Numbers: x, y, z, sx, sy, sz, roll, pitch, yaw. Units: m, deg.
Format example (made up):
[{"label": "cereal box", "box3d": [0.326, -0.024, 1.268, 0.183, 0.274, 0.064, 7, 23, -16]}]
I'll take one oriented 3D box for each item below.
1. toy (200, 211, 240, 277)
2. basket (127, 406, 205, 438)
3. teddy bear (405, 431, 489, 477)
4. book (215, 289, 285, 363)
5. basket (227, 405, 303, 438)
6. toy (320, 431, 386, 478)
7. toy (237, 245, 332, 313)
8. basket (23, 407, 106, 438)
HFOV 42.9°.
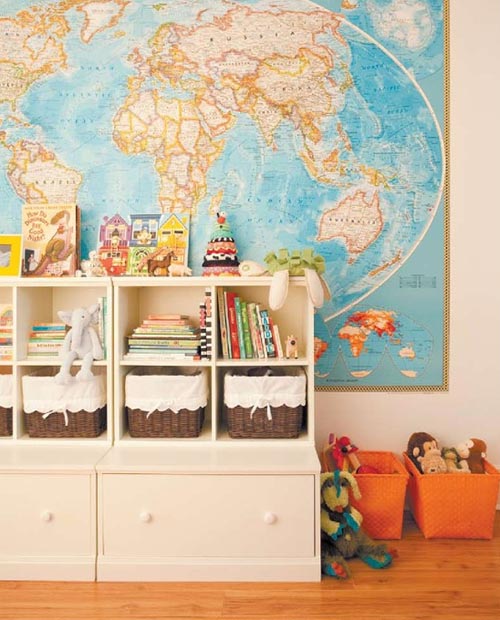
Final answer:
[{"label": "toy", "box3d": [-0.133, -0.292, 2.833, 0.155, 0.261, 0.251, -3, 15, -9]}, {"label": "basket", "box3d": [-0.351, 0.477, 2.684, 0.198, 0.073, 0.180, 0, -2, -9]}, {"label": "teddy bear", "box3d": [0.879, 0.631, 2.837, 0.232, 0.132, 0.216, 0, -7, -3]}, {"label": "book", "box3d": [0.009, 0.049, 2.892, 0.326, 0.345, 0.294, -4, 2, 0]}, {"label": "basket", "box3d": [0.065, 0.470, 2.720, 0.251, 0.100, 0.155, 0, -6, -1]}, {"label": "toy", "box3d": [0.466, 0.612, 2.782, 0.225, 0.185, 0.211, 0, -3, 6]}, {"label": "toy", "box3d": [0.168, -0.141, 2.655, 0.280, 0.164, 0.327, -1, 0, -7]}, {"label": "basket", "box3d": [-0.780, 0.485, 2.698, 0.233, 0.075, 0.158, 0, -2, -3]}]
